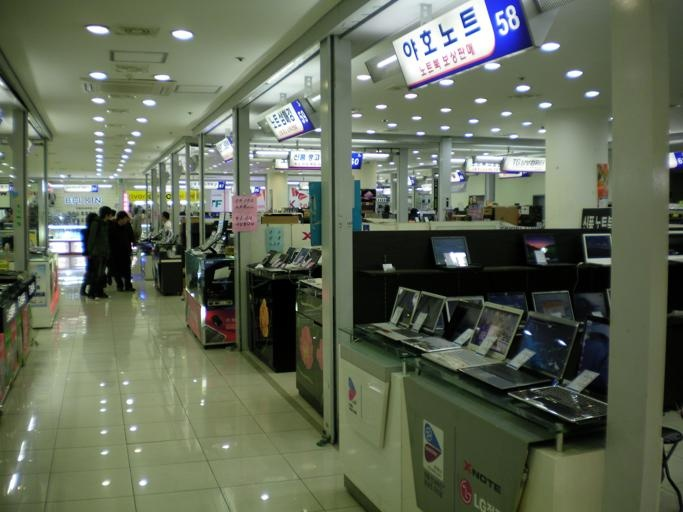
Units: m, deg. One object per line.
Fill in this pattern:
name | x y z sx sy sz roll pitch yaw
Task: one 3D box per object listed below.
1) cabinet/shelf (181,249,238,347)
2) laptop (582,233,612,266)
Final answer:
cabinet/shelf | -1.796 0.596 7.836 0.411 1.147 1.201 -2 5 -21
laptop | 2.285 -0.057 5.107 0.274 0.332 0.022 2 -11 -5
